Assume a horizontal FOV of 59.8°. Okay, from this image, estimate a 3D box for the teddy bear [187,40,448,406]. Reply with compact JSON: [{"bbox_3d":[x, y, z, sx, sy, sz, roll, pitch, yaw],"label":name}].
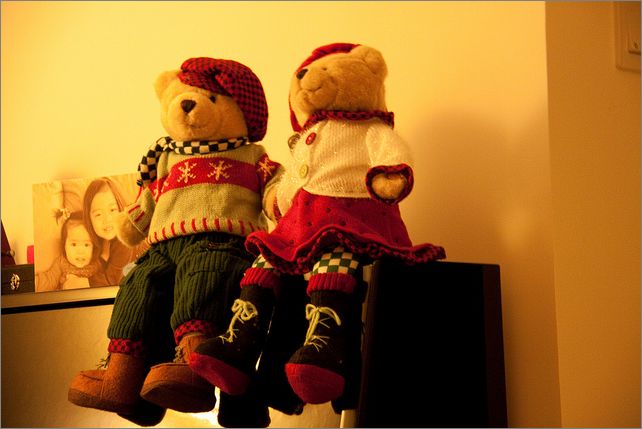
[{"bbox_3d":[0.008,-0.022,1.339,0.552,0.883,0.324,-2,-4,13],"label":"teddy bear"}]
